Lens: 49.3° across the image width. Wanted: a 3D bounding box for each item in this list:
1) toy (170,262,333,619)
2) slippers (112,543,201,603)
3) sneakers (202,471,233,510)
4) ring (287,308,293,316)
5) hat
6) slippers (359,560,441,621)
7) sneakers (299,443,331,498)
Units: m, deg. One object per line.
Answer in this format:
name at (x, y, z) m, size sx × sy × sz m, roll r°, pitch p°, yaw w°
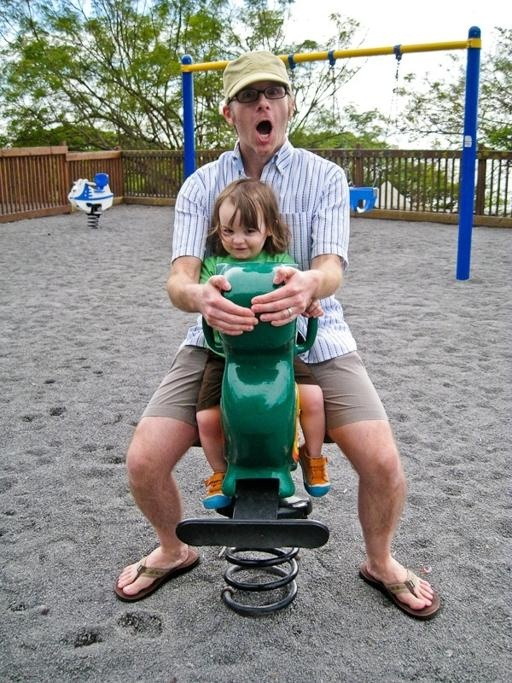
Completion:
toy at (0.017, 0.307, 1.368) m, size 0.302 × 0.995 × 0.633 m, roll 0°, pitch 10°, yaw 6°
slippers at (-0.306, 0.693, 1.718) m, size 0.221 × 0.054 × 0.114 m, roll -16°, pitch 22°, yaw -36°
sneakers at (-0.097, 0.375, 1.412) m, size 0.053 × 0.055 × 0.136 m, roll -1°, pitch -5°, yaw -3°
ring at (0.071, -0.063, 1.174) m, size 0.014 × 0.013 × 0.011 m, roll -4°, pitch 5°, yaw -4°
hat at (-0.010, -0.769, 1.646) m, size 0.145 × 0.085 × 0.180 m, roll -7°, pitch 11°, yaw 0°
slippers at (0.410, 0.711, 1.605) m, size 0.091 × 0.048 × 0.191 m, roll -18°, pitch 17°, yaw -34°
sneakers at (0.175, 0.330, 1.512) m, size 0.059 × 0.065 × 0.163 m, roll -5°, pitch 50°, yaw -12°
